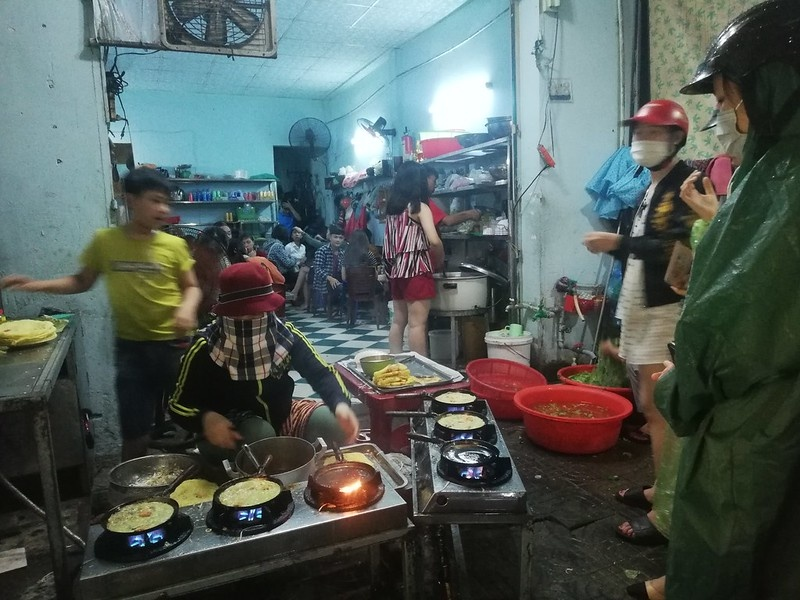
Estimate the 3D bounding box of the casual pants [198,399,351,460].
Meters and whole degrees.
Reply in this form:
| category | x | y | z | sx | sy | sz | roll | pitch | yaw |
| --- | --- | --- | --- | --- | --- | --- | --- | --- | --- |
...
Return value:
| category | x | y | z | sx | sy | sz | roll | pitch | yaw |
| --- | --- | --- | --- | --- | --- | --- | --- | --- | --- |
| casual pants | -0.566 | 0.606 | 2.977 | 0.504 | 0.173 | 0.359 | 0 | 8 | 4 |

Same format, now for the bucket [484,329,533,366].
| category | x | y | z | sx | sy | sz | roll | pitch | yaw |
| --- | --- | --- | --- | --- | --- | --- | --- | --- | --- |
| bucket | 0.911 | 0.389 | 5.335 | 0.336 | 0.261 | 0.338 | 1 | 1 | 0 |

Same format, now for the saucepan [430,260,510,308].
| category | x | y | z | sx | sy | sz | roll | pitch | yaw |
| --- | --- | --- | --- | --- | --- | --- | --- | --- | --- |
| saucepan | 0.553 | -0.125 | 5.510 | 0.524 | 0.278 | 0.413 | -1 | 5 | -3 |

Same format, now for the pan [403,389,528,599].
| category | x | y | z | sx | sy | sz | roll | pitch | yaw |
| --- | --- | --- | --- | --- | --- | --- | --- | --- | --- |
| pan | 0.258 | 0.852 | 2.667 | 0.368 | 0.337 | 0.801 | -3 | 18 | -4 |

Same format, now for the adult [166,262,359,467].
| category | x | y | z | sx | sy | sz | roll | pitch | yaw |
| --- | --- | --- | --- | --- | --- | --- | --- | --- | --- |
| adult | -0.617 | 0.438 | 3.052 | 0.930 | 1.085 | 0.681 | 1 | 11 | 0 |

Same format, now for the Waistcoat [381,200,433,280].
| category | x | y | z | sx | sy | sz | roll | pitch | yaw |
| --- | --- | --- | --- | --- | --- | --- | --- | --- | --- |
| Waistcoat | 0.040 | -0.482 | 5.203 | 0.437 | 0.613 | 0.310 | 0 | 14 | 16 |

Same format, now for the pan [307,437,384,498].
| category | x | y | z | sx | sy | sz | roll | pitch | yaw |
| --- | --- | --- | --- | --- | --- | --- | --- | --- | --- |
| pan | -0.230 | 0.664 | 2.479 | 0.252 | 0.055 | 0.403 | -8 | 16 | -5 |

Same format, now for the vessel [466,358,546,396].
| category | x | y | z | sx | sy | sz | roll | pitch | yaw |
| --- | --- | --- | --- | --- | --- | --- | --- | --- | --- |
| vessel | 0.766 | 0.547 | 4.584 | 0.364 | 0.124 | 0.327 | 6 | 19 | 10 |

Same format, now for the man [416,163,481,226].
| category | x | y | z | sx | sy | sz | roll | pitch | yaw |
| --- | --- | --- | --- | --- | --- | --- | --- | --- | --- |
| man | 0.488 | -1.027 | 6.048 | 0.486 | 0.516 | 0.847 | -6 | 17 | -15 |

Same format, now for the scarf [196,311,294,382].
| category | x | y | z | sx | sy | sz | roll | pitch | yaw |
| --- | --- | --- | --- | --- | --- | --- | --- | --- | --- |
| scarf | -0.752 | 0.162 | 3.100 | 0.445 | 0.265 | 0.497 | -6 | 19 | -12 |

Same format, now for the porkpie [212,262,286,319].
| category | x | y | z | sx | sy | sz | roll | pitch | yaw |
| --- | --- | --- | --- | --- | --- | --- | --- | --- | --- |
| porkpie | -0.711 | -0.075 | 2.921 | 0.351 | 0.182 | 0.393 | 13 | 22 | 42 |

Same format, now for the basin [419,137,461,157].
| category | x | y | z | sx | sy | sz | roll | pitch | yaw |
| --- | --- | --- | --- | --- | --- | --- | --- | --- | --- |
| basin | 0.409 | -1.615 | 6.589 | 0.267 | 0.109 | 0.333 | -20 | 18 | -35 |

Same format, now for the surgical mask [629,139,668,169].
| category | x | y | z | sx | sy | sz | roll | pitch | yaw |
| --- | --- | --- | --- | --- | --- | --- | --- | --- | --- |
| surgical mask | 1.291 | -0.774 | 3.276 | 0.158 | 0.086 | 0.155 | -31 | 32 | -25 |

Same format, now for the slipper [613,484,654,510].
| category | x | y | z | sx | sy | sz | roll | pitch | yaw |
| --- | --- | --- | --- | --- | --- | --- | --- | --- | --- |
| slipper | 1.209 | 1.022 | 3.291 | 0.218 | 0.077 | 0.078 | 6 | 13 | 40 |

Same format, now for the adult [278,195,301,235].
| category | x | y | z | sx | sy | sz | roll | pitch | yaw |
| --- | --- | --- | --- | --- | --- | --- | --- | --- | --- |
| adult | -2.055 | -1.676 | 11.508 | 0.468 | 0.280 | 1.021 | -7 | -23 | -10 |

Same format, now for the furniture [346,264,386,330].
| category | x | y | z | sx | sy | sz | roll | pitch | yaw |
| --- | --- | --- | --- | --- | --- | --- | --- | --- | --- |
| furniture | -0.463 | -0.059 | 7.965 | 0.462 | 0.704 | 0.494 | -2 | -4 | 9 |

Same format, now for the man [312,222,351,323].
| category | x | y | z | sx | sy | sz | roll | pitch | yaw |
| --- | --- | --- | --- | --- | --- | --- | --- | --- | --- |
| man | -0.896 | -0.459 | 8.786 | 0.563 | 1.104 | 0.717 | 0 | 8 | -37 |

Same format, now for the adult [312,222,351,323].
| category | x | y | z | sx | sy | sz | roll | pitch | yaw |
| --- | --- | --- | --- | --- | --- | --- | --- | --- | --- |
| adult | -0.912 | -0.444 | 8.817 | 0.588 | 1.116 | 0.713 | 3 | 5 | -30 |

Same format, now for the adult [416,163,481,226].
| category | x | y | z | sx | sy | sz | roll | pitch | yaw |
| --- | --- | --- | --- | --- | --- | --- | --- | --- | --- |
| adult | 0.488 | -1.027 | 6.048 | 0.486 | 0.516 | 0.847 | -6 | 17 | -15 |

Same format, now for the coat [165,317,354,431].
| category | x | y | z | sx | sy | sz | roll | pitch | yaw |
| --- | --- | --- | --- | --- | --- | --- | --- | --- | --- |
| coat | -0.669 | 0.386 | 3.055 | 0.848 | 0.492 | 0.653 | -5 | 20 | -9 |

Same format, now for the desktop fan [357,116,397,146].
| category | x | y | z | sx | sy | sz | roll | pitch | yaw |
| --- | --- | --- | --- | --- | --- | --- | --- | --- | --- |
| desktop fan | -0.305 | -2.536 | 9.285 | 0.447 | 0.333 | 0.997 | -4 | 12 | -4 |

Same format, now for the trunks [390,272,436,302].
| category | x | y | z | sx | sy | sz | roll | pitch | yaw |
| --- | --- | --- | --- | --- | --- | --- | --- | --- | --- |
| trunks | 0.138 | -0.126 | 5.273 | 0.246 | 0.253 | 0.392 | -17 | 14 | -41 |

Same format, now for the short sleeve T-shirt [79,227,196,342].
| category | x | y | z | sx | sy | sz | roll | pitch | yaw |
| --- | --- | --- | --- | --- | --- | --- | --- | --- | --- |
| short sleeve T-shirt | -1.467 | -0.101 | 3.596 | 0.709 | 0.596 | 0.349 | 0 | 25 | 2 |

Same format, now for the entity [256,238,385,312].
| category | x | y | z | sx | sy | sz | roll | pitch | yaw |
| --- | --- | --- | --- | --- | --- | --- | --- | --- | --- |
| entity | -0.933 | -0.318 | 7.896 | 0.829 | 0.500 | 1.198 | 3 | -2 | 11 |

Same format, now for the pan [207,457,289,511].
| category | x | y | z | sx | sy | sz | roll | pitch | yaw |
| --- | --- | --- | --- | --- | --- | --- | --- | --- | --- |
| pan | -0.577 | 0.676 | 2.356 | 0.236 | 0.098 | 0.295 | -13 | 17 | -23 |

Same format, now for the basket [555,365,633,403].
| category | x | y | z | sx | sy | sz | roll | pitch | yaw |
| --- | --- | --- | --- | --- | --- | --- | --- | --- | --- |
| basket | 1.298 | 0.564 | 4.165 | 0.395 | 0.132 | 0.367 | 0 | 5 | 1 |
